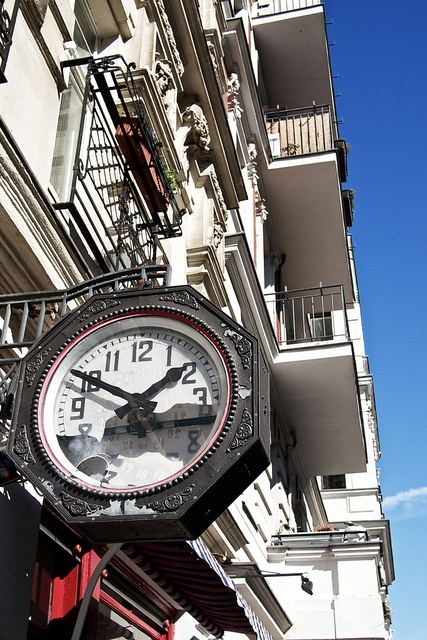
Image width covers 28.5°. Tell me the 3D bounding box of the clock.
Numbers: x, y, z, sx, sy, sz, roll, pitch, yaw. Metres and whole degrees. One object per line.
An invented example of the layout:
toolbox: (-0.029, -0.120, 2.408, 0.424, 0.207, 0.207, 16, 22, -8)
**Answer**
clock: (-0.360, 0.389, 4.101, 1.199, 1.371, 0.541, -7, -20, 6)
